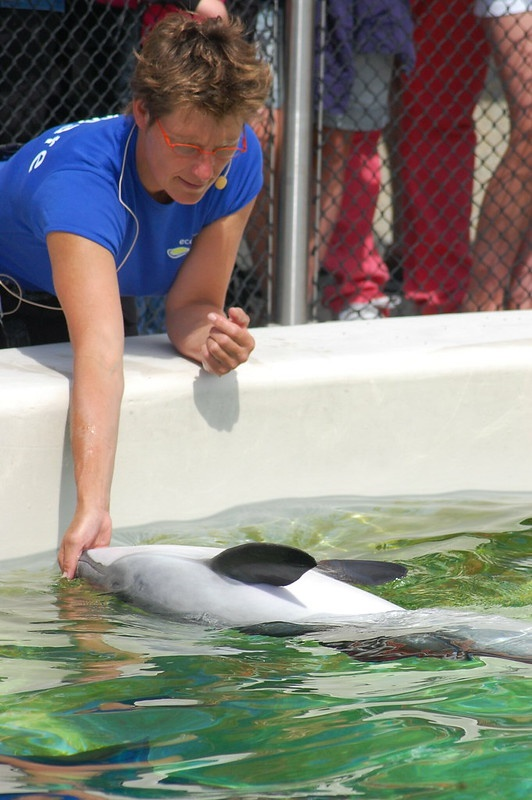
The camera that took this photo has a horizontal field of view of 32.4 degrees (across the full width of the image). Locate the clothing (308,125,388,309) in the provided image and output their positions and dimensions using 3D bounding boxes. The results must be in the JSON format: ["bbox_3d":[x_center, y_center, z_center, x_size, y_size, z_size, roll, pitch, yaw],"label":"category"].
[{"bbox_3d":[0.242,-0.513,2.668,0.179,0.528,0.286,5,12,31],"label":"clothing"}]

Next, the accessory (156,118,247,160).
[{"bbox_3d":[-0.077,-0.364,1.305,0.066,0.047,0.148,5,10,35],"label":"accessory"}]
